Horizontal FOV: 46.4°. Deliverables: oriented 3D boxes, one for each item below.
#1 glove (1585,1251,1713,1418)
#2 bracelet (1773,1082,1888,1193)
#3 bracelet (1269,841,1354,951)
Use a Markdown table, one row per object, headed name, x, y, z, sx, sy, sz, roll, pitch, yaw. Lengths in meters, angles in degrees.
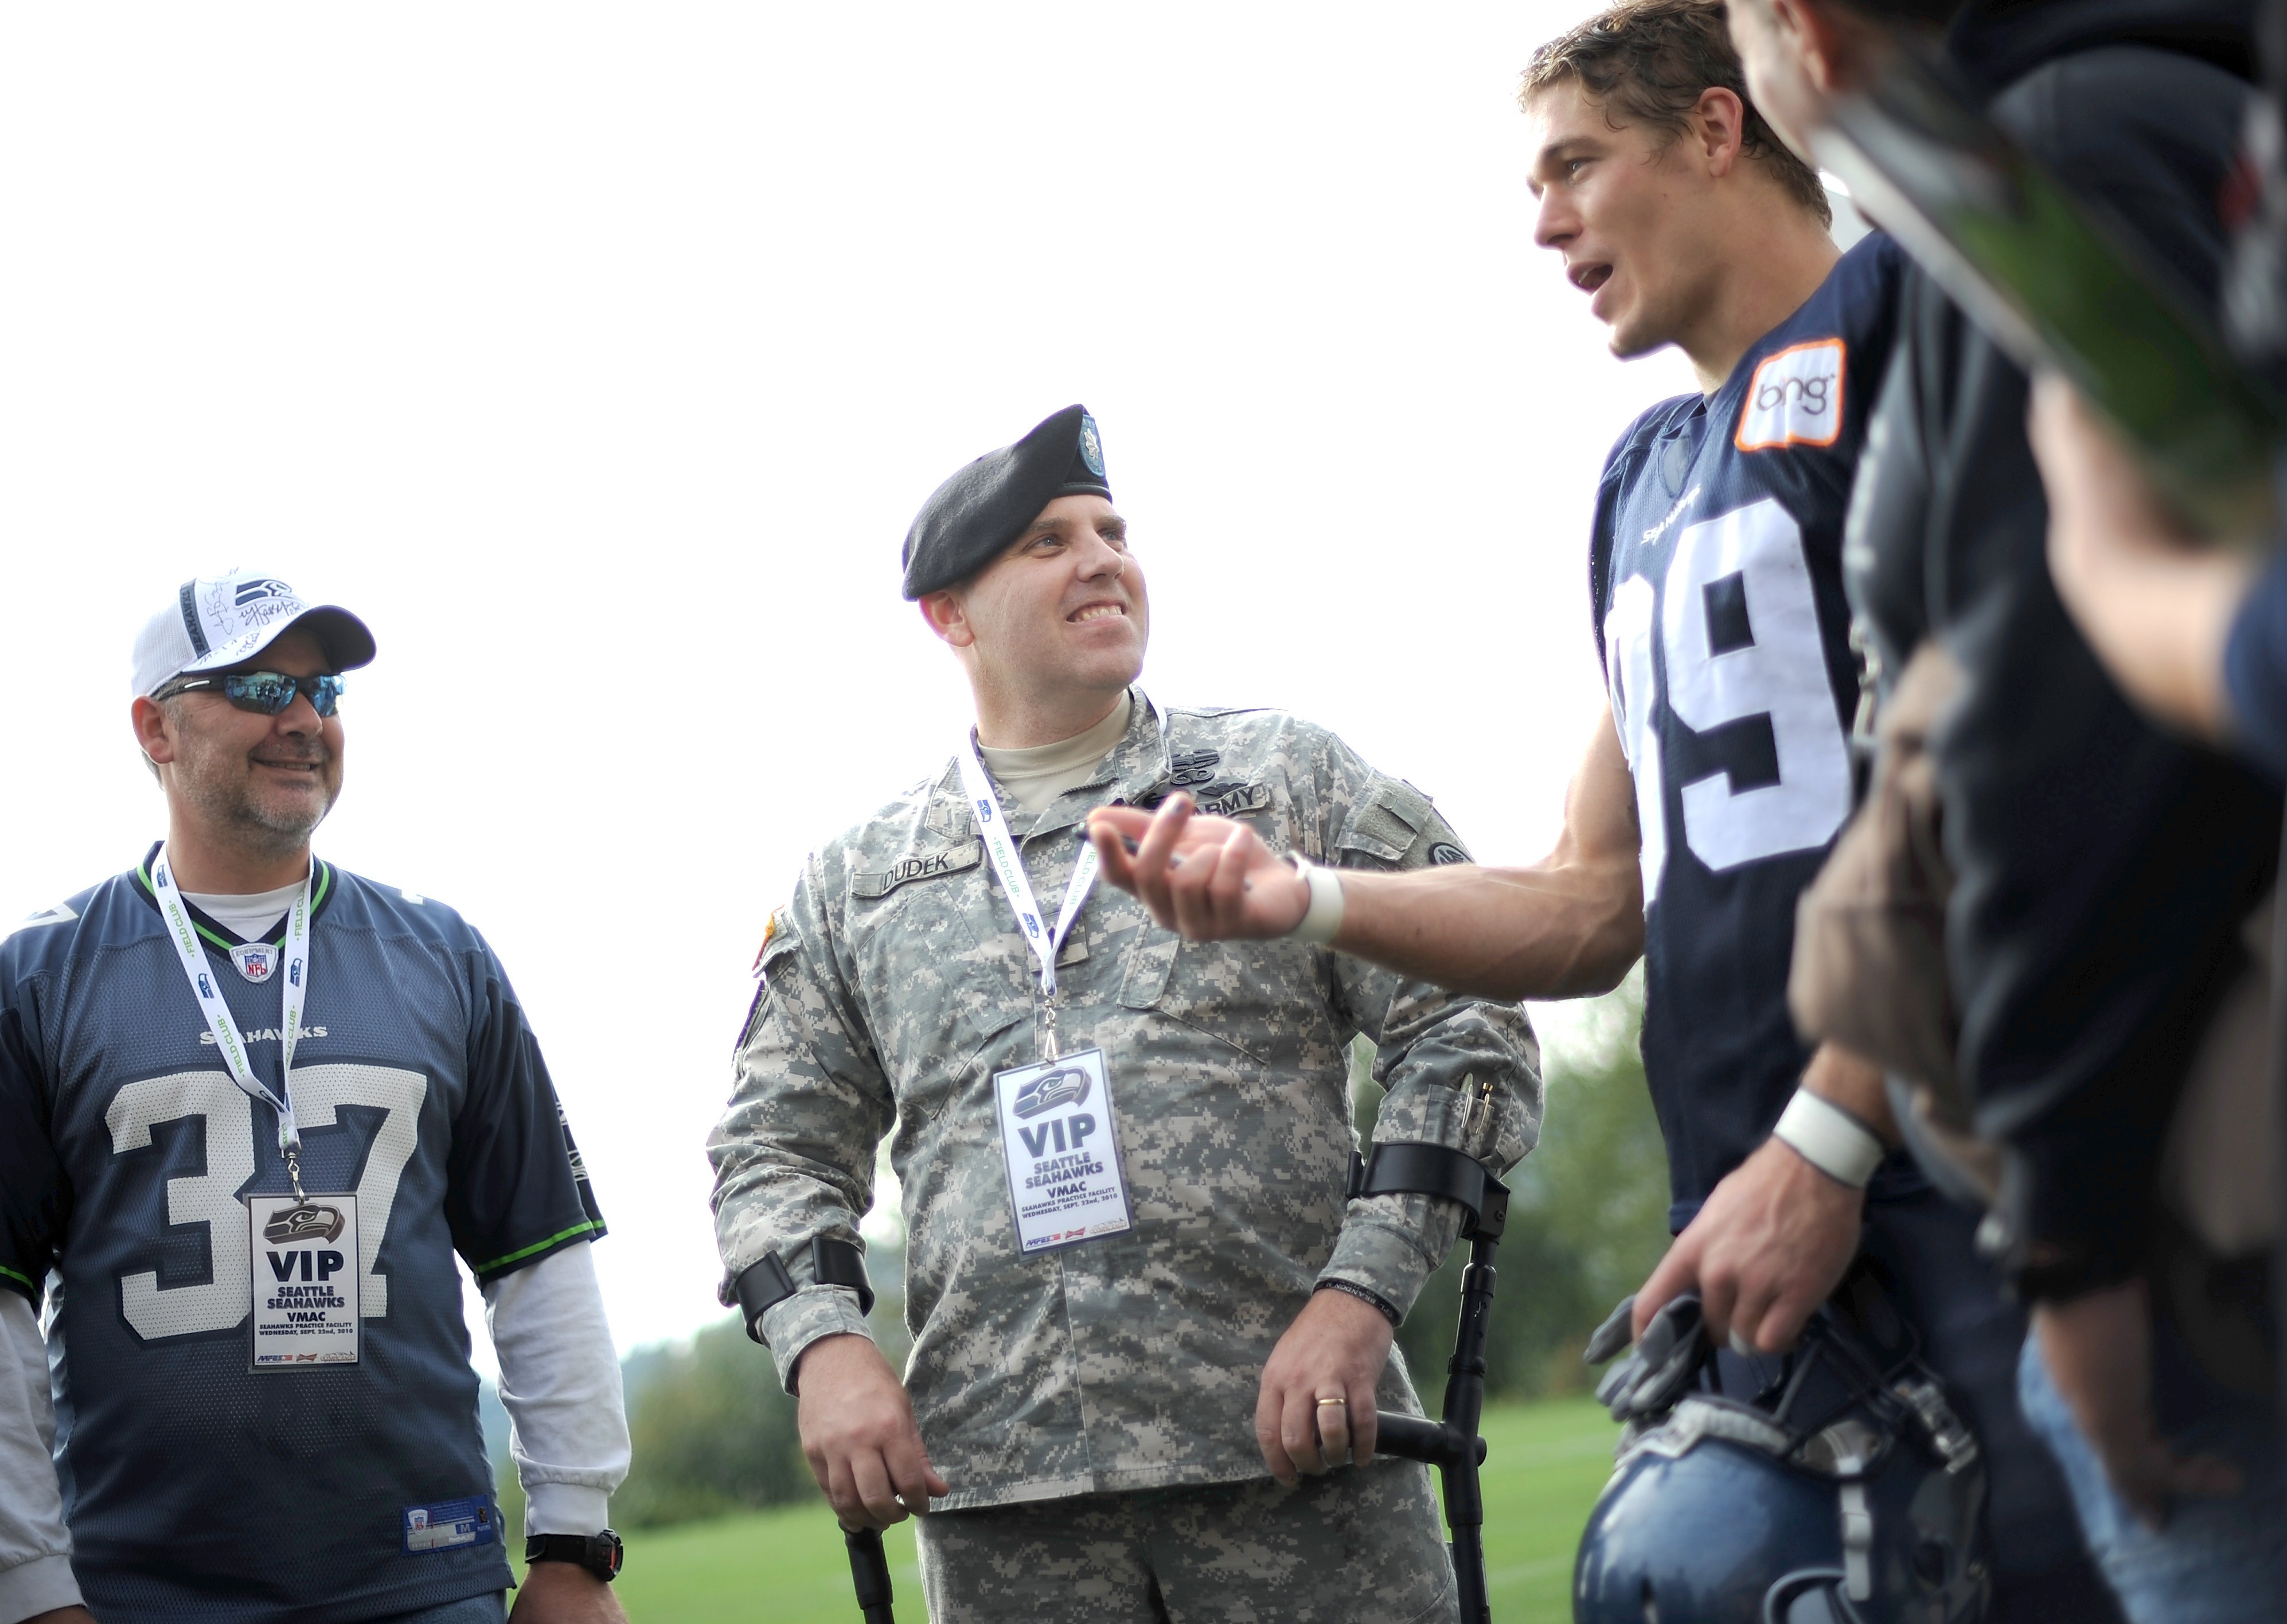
| name | x | y | z | sx | sy | sz | roll | pitch | yaw |
| --- | --- | --- | --- | --- | --- | --- | --- | --- | --- |
| glove | 0.683 | 0.692 | 3.464 | 0.181 | 0.128 | 0.077 | -48 | -35 | 13 |
| bracelet | 0.858 | 0.410 | 3.413 | 0.150 | 0.099 | 0.139 | 35 | -2 | 3 |
| bracelet | 0.259 | 0.134 | 3.887 | 0.090 | 0.124 | 0.062 | -4 | -7 | 27 |
